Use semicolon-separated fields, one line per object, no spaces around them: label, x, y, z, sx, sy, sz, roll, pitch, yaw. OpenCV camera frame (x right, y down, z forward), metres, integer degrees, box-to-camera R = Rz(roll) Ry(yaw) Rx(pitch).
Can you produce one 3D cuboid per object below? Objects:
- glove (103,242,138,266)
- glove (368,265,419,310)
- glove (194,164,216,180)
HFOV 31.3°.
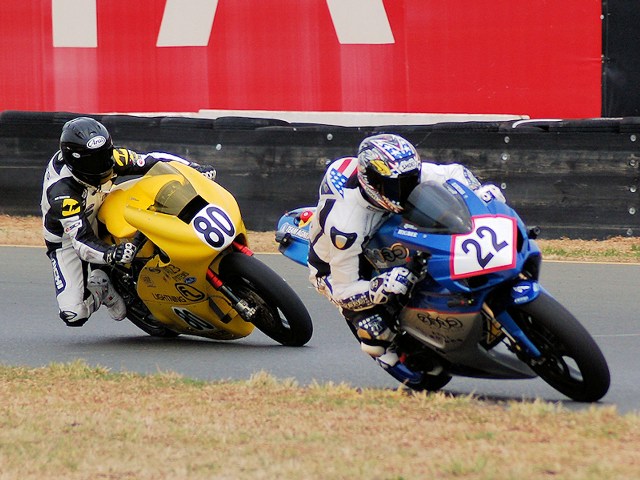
glove;-1.874;0.137;10.764;0.261;0.232;0.157;8;7;27
glove;0.588;0.402;9.732;0.384;0.253;0.172;-26;-40;22
glove;-1.186;-0.696;11.566;0.216;0.146;0.218;15;5;30
